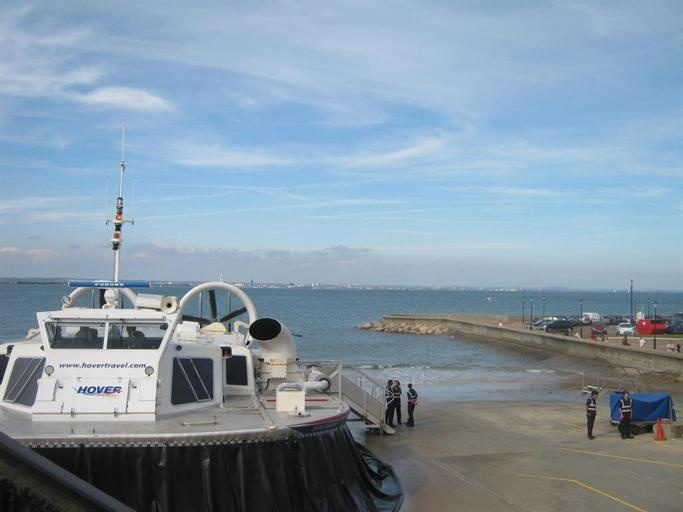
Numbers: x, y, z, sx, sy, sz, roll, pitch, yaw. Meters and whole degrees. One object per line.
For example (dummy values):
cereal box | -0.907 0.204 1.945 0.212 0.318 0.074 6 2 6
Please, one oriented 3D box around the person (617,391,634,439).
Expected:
person | 6.352 3.519 15.432 0.264 0.946 0.533 1 -2 21
